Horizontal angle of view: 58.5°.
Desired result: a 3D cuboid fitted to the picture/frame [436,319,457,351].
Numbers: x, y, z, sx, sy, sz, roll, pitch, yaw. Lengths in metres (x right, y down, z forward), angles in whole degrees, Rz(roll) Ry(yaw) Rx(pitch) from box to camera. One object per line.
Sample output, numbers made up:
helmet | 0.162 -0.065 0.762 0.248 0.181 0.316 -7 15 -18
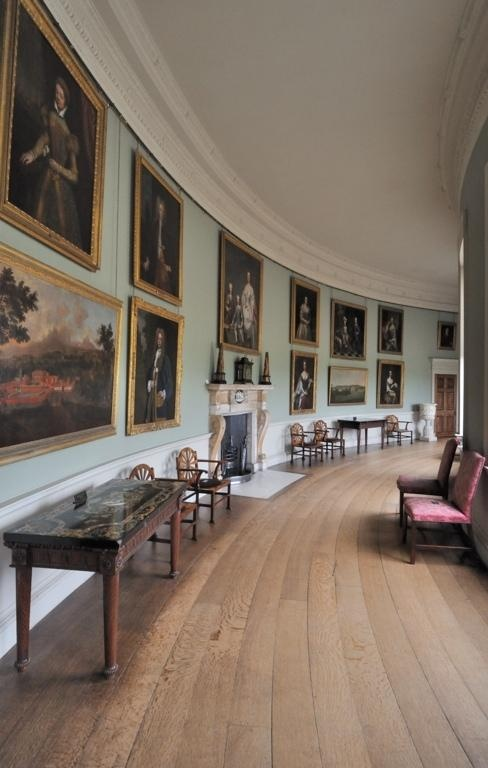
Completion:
picture/frame | 7.998 -2.014 17.433 0.808 1.484 0.144 -2 4 -26

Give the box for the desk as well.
desk | -1.017 1.325 3.211 0.750 0.937 1.431 0 -2 8
